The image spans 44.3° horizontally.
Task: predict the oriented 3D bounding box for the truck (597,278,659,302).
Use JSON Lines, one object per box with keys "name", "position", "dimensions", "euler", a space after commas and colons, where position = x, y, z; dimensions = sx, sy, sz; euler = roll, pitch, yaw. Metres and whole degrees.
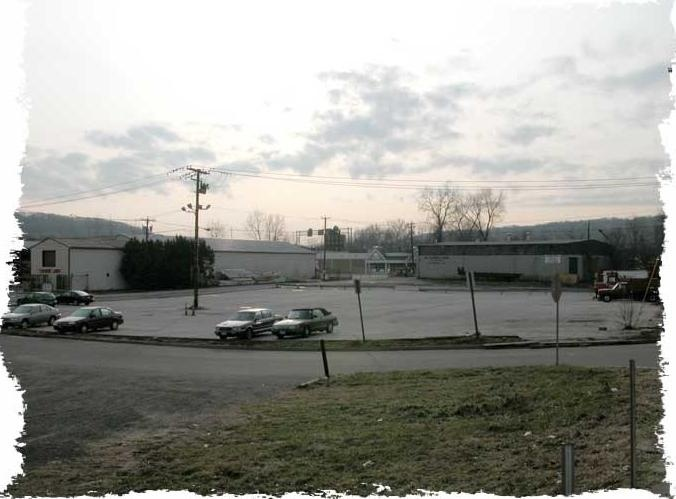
{"name": "truck", "position": [20.273, 2.849, 57.582], "dimensions": [3.058, 1.333, 2.051], "euler": [2, 0, 26]}
